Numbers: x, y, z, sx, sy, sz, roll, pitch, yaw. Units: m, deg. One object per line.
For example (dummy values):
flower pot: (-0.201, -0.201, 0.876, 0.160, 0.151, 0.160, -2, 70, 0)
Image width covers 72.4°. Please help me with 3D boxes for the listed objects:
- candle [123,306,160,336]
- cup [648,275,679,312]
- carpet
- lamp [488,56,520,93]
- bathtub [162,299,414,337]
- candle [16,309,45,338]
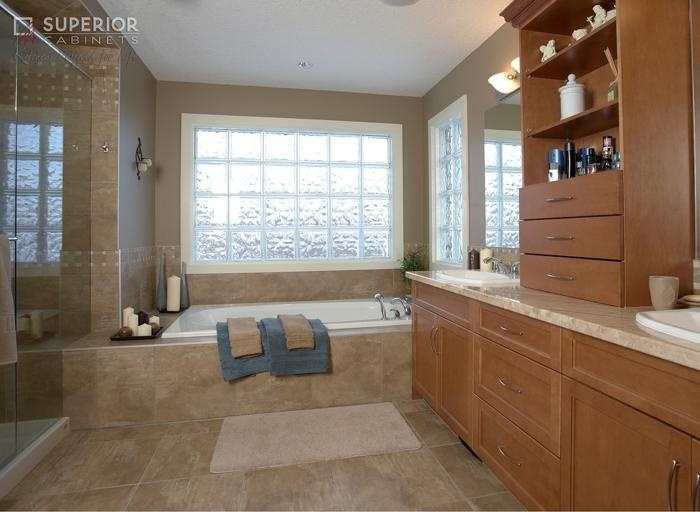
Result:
candle: (-1.578, 0.516, 3.616, 0.211, 0.161, 0.263, 3, 1, 12)
cup: (1.400, 0.187, 2.205, 0.135, 0.161, 0.145, 2, -6, 0)
carpet: (-0.236, 1.190, 3.214, 1.304, 0.027, 0.613, -2, 14, -9)
lamp: (1.143, -1.307, 3.488, 0.258, 0.138, 0.192, -20, 0, -1)
bathtub: (-0.607, 0.537, 4.434, 1.441, 0.206, 0.693, -1, 7, -12)
candle: (-1.972, 0.423, 2.945, 0.103, 0.194, 0.193, -1, 4, -6)
